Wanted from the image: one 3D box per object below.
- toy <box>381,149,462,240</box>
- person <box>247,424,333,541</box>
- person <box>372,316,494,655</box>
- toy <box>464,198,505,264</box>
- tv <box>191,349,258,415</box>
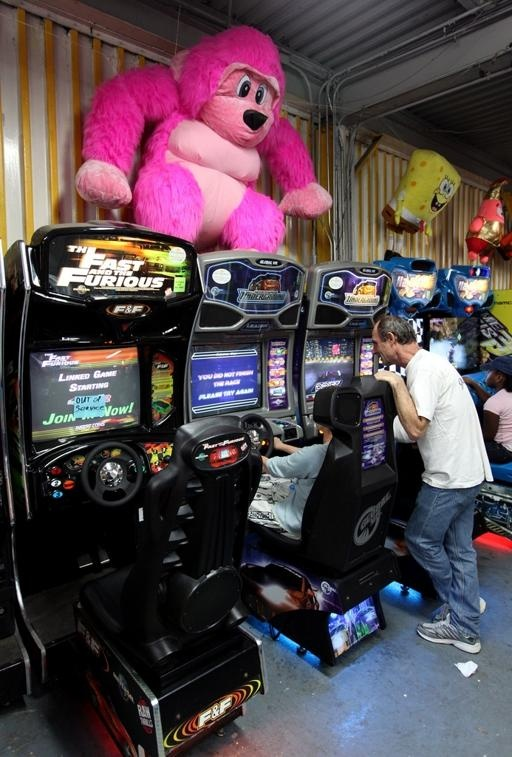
[{"bbox_3d":[1.612,-1.851,5.082,0.720,0.730,0.513,1,2,27],"label":"toy"},{"bbox_3d":[0.141,0.466,2.529,0.358,0.516,0.818,0,2,-1],"label":"person"},{"bbox_3d":[0.869,0.480,2.390,0.569,1.563,0.436,0,2,3],"label":"person"},{"bbox_3d":[2.740,-1.779,6.161,0.373,0.695,0.491,1,2,37],"label":"toy"},{"bbox_3d":[-0.197,0.016,2.985,0.014,0.258,0.377,6,8,38],"label":"tv"}]
